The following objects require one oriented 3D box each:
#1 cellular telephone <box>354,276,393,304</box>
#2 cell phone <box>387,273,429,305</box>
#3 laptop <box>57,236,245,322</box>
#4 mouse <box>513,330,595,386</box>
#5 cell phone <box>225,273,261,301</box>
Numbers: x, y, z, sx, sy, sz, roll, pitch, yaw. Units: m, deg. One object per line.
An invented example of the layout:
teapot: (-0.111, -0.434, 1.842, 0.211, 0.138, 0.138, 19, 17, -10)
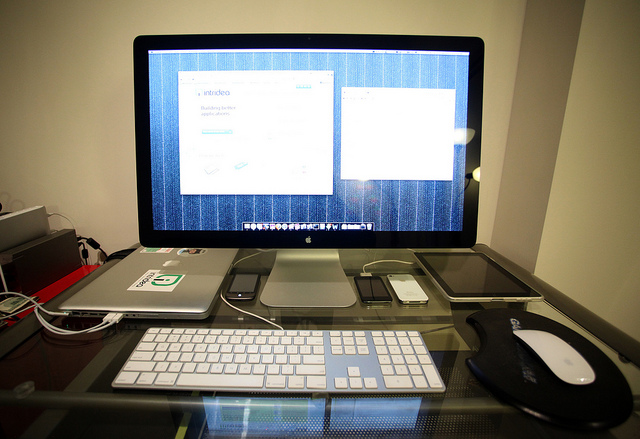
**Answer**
cellular telephone: (0.141, 0.193, 1.202, 0.079, 0.129, 0.014, -3, 39, 9)
cell phone: (0.240, 0.177, 1.215, 0.080, 0.148, 0.023, -10, 41, 24)
laptop: (-0.453, 0.165, 1.250, 0.400, 0.095, 0.330, 0, 18, 2)
mouse: (0.544, 0.301, 1.008, 0.088, 0.031, 0.133, -10, 31, -21)
cell phone: (-0.211, 0.188, 1.226, 0.086, 0.021, 0.136, 0, 20, -1)
